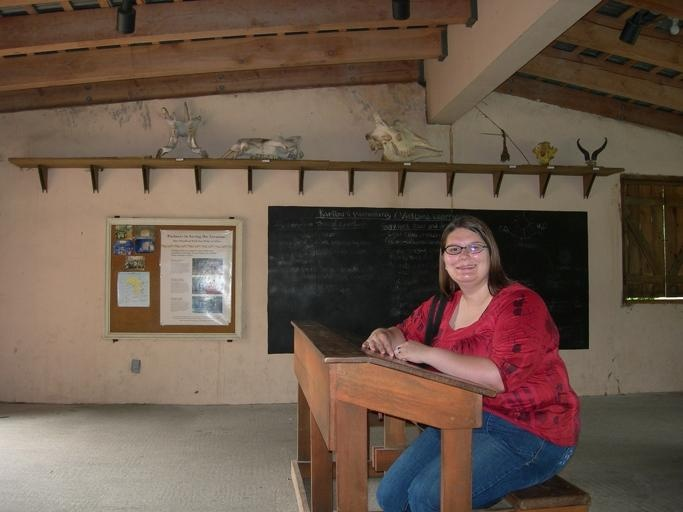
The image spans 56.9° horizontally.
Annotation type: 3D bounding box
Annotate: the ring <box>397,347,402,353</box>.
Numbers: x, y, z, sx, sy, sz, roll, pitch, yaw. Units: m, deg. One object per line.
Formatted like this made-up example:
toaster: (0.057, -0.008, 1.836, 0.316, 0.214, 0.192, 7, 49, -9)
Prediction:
ring: (0.332, 0.538, 3.629, 0.021, 0.028, 0.038, 7, -1, -3)

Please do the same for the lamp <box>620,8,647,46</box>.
lamp: (2.656, -2.032, 5.739, 0.206, 0.093, 0.395, 26, -2, 8)
